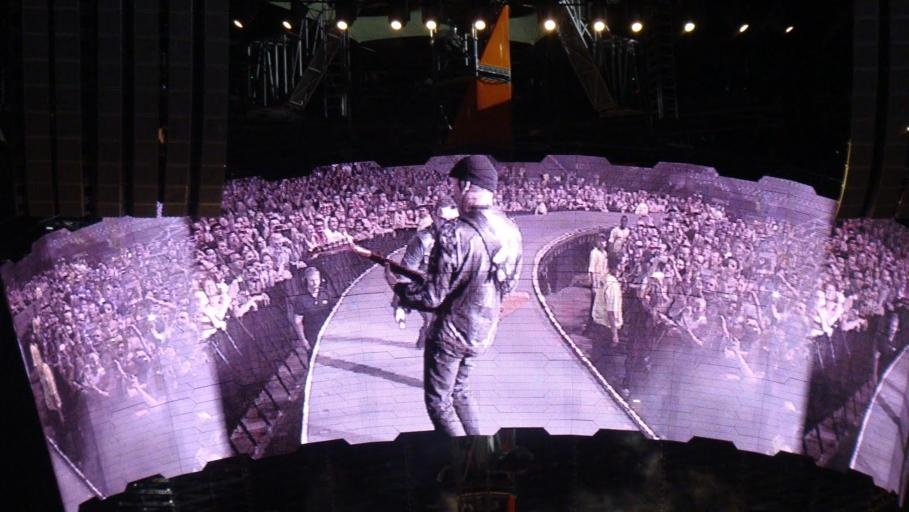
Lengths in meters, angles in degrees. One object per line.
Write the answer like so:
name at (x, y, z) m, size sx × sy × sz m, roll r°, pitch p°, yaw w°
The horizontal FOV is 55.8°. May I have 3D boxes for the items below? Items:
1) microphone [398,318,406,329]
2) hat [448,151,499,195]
microphone at (-0.940, 1.196, 15.319) m, size 0.176 × 0.165 × 0.045 m, roll -4°, pitch -2°, yaw 4°
hat at (0.348, -1.492, 15.434) m, size 0.843 × 0.586 × 0.591 m, roll -5°, pitch 19°, yaw -5°
